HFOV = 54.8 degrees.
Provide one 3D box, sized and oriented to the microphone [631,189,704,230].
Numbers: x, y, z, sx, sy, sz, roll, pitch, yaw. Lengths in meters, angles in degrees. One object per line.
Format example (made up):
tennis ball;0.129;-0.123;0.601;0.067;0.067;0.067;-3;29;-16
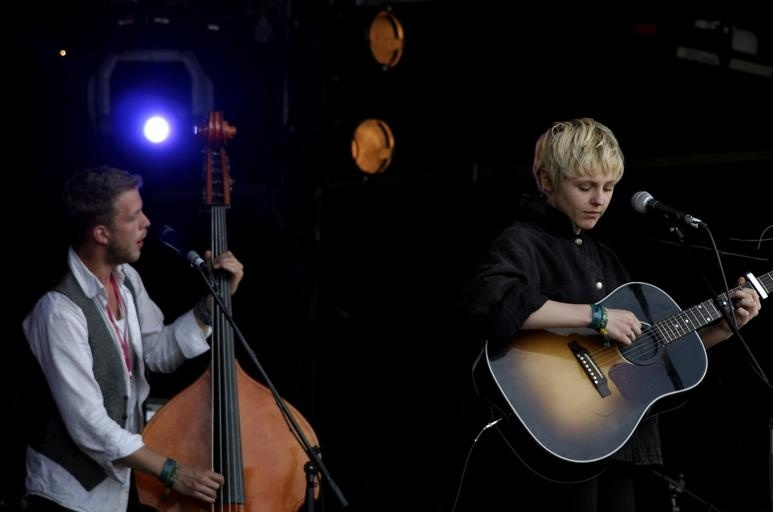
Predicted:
microphone;1.653;-0.271;4.318;0.386;0.236;0.256;-3;-3;38

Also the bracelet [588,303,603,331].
bracelet;1.213;0.344;4.252;0.084;0.113;0.121;-4;-24;21

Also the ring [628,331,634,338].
ring;1.419;0.456;4.318;0.026;0.011;0.036;9;-46;-5

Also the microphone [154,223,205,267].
microphone;-1.126;-0.050;4.074;0.213;0.230;0.318;0;-3;-29

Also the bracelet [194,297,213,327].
bracelet;-1.111;0.340;4.530;0.131;0.191;0.069;-1;-3;-3

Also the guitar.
guitar;1.385;0.633;4.469;1.827;0.784;0.259;-31;-8;-19

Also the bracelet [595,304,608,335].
bracelet;1.235;0.365;4.259;0.067;0.142;0.112;-4;19;14
